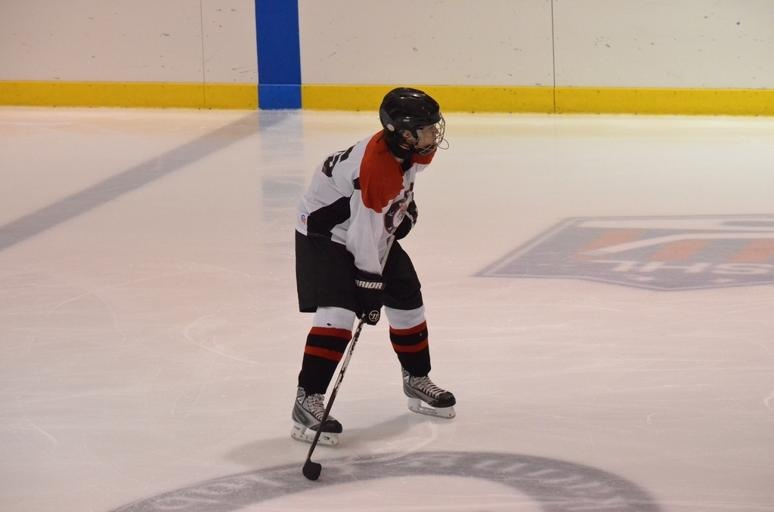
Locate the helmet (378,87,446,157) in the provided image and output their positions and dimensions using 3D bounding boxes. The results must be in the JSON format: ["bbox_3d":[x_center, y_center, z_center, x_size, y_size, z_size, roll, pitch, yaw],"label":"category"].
[{"bbox_3d":[0.105,-0.585,3.922,0.333,0.244,0.224,5,29,11],"label":"helmet"}]

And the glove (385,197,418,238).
[{"bbox_3d":[0.091,-0.170,4.089,0.076,0.114,0.179,15,9,9],"label":"glove"}]

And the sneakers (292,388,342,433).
[{"bbox_3d":[-0.302,0.674,3.970,0.132,0.150,0.356,-9,8,-37],"label":"sneakers"}]

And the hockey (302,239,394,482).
[{"bbox_3d":[-0.178,0.464,3.972,0.123,1.105,0.052,20,-11,36],"label":"hockey"}]

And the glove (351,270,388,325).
[{"bbox_3d":[-0.082,0.172,3.949,0.172,0.226,0.218,-6,19,-23],"label":"glove"}]
